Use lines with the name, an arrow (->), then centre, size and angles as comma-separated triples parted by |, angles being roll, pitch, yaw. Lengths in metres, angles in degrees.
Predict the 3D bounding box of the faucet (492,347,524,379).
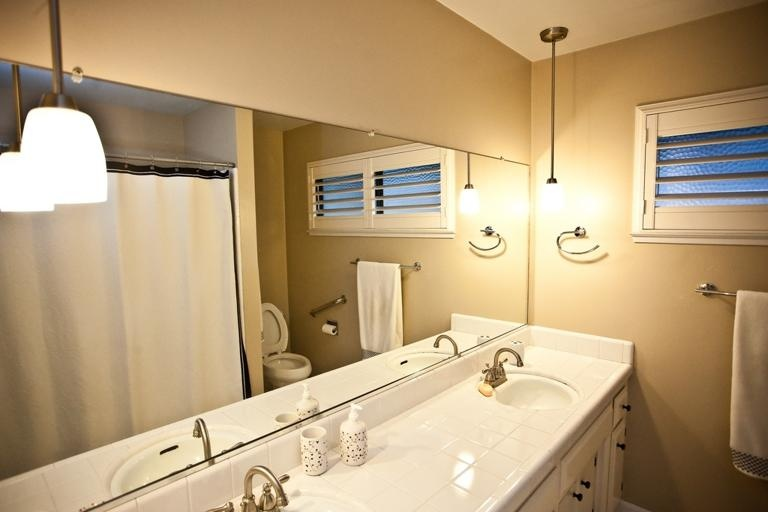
faucet -> 0.635, 0.563, 2.644 | 0.161, 0.238, 0.108 | 11, 46, 21

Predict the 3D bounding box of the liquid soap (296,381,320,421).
liquid soap -> -0.314, 0.607, 2.040 | 0.090, 0.155, 0.089 | -1, 6, -22

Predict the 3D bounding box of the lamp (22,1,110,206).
lamp -> -0.905, -0.442, 1.413 | 0.206, 0.586, 0.161 | 3, 9, 15

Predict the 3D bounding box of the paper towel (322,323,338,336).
paper towel -> -0.227, 0.311, 2.109 | 0.038, 0.045, 0.087 | 0, 6, -42

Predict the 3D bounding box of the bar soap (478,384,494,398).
bar soap -> 0.498, 0.669, 2.492 | 0.057, 0.030, 0.057 | -5, 9, -35
